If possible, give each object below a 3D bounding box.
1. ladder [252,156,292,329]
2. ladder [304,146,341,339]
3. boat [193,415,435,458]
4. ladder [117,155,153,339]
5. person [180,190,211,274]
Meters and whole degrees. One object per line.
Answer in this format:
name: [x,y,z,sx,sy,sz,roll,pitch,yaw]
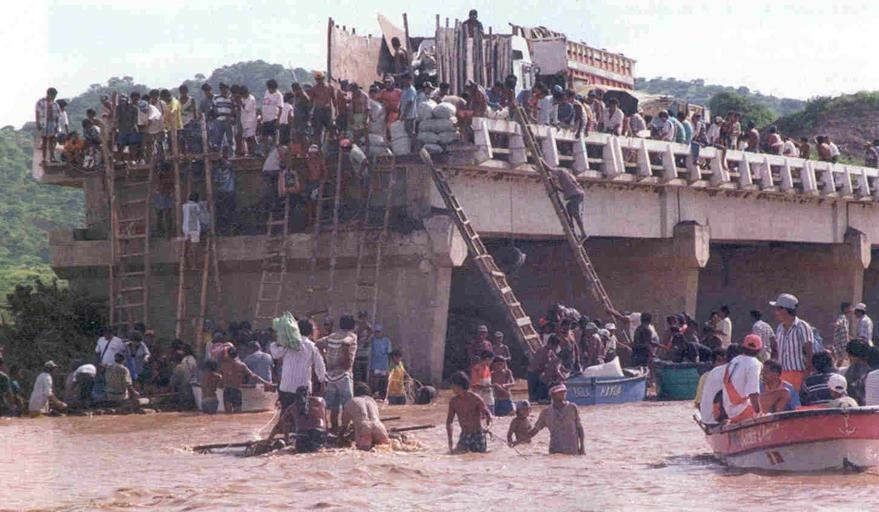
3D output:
ladder: [-6.609,-0.526,77.332,1.556,6.441,1.282,-2,-3,-2]
ladder: [-4.657,-0.912,77.078,1.941,6.195,1.173,1,0,-29]
boat: [-4.940,6.726,70.273,7.806,0.833,1.610,-2,-4,-9]
ladder: [-12.249,-0.563,78.364,1.626,6.417,1.176,0,-1,8]
person: [-9.650,-0.965,77.665,1.134,3.000,1.453,-2,-3,-8]
